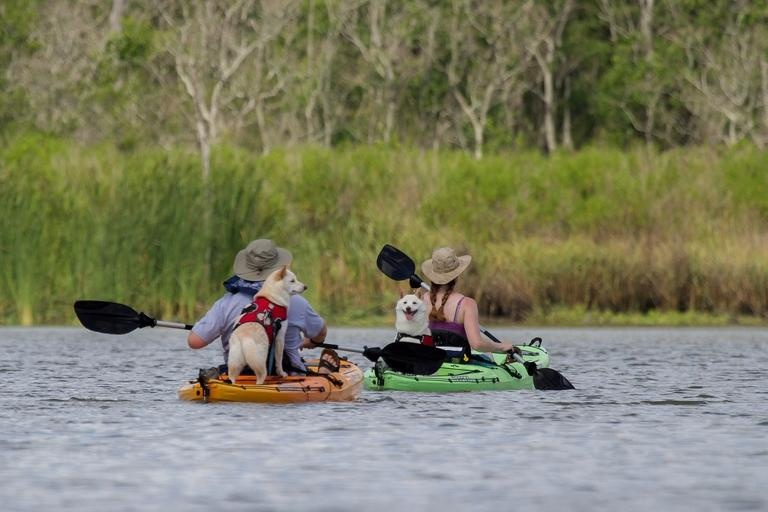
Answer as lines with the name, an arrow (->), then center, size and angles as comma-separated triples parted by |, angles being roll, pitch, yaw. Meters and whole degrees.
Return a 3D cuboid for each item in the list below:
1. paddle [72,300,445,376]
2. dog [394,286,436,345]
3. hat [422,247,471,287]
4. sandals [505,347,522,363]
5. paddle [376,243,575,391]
paddle -> -2.027, 1.277, 23.579 | 5.621, 0.877, 0.324 | 7, 14, 6
dog -> 0.395, 0.874, 22.653 | 0.543, 0.694, 0.923 | 2, 1, 10
hat -> 0.856, 0.110, 22.515 | 0.810, 0.290, 0.757 | 0, 17, 45
sandals -> 1.906, 1.428, 22.955 | 0.121, 0.280, 0.180 | -23, 29, 16
paddle -> 1.376, 1.035, 25.223 | 3.936, 0.545, 0.175 | 38, 13, 31
